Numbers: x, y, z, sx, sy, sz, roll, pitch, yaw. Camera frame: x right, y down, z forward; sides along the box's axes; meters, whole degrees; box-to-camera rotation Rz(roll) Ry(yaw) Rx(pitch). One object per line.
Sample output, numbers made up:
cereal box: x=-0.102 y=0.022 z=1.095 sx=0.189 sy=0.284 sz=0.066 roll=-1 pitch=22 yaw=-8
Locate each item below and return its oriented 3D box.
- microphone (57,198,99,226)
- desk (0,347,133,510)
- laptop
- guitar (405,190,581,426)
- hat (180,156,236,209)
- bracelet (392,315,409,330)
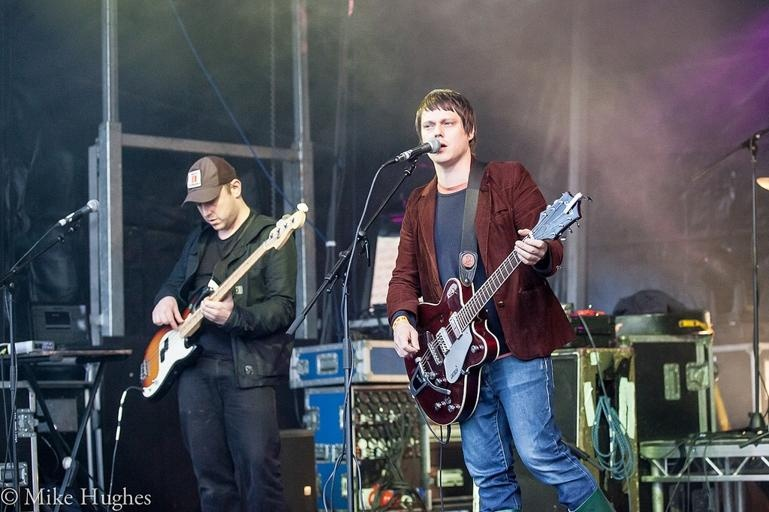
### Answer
microphone: x=-2.451 y=-0.337 z=9.984 sx=0.127 sy=0.117 sz=0.435 roll=12 pitch=29 yaw=43
desk: x=-2.378 y=1.281 z=9.343 sx=0.958 sy=1.273 sz=0.804 roll=0 pitch=-16 yaw=-12
laptop: x=-2.569 y=0.591 z=10.051 sx=0.519 sy=0.362 sz=0.450 roll=0 pitch=6 yaw=-25
guitar: x=0.505 y=0.573 z=8.097 sx=0.270 sy=0.973 sz=0.905 roll=10 pitch=-21 yaw=-40
hat: x=-1.279 y=-0.566 z=8.847 sx=0.328 sy=0.260 sz=0.500 roll=5 pitch=24 yaw=29
bracelet: x=0.096 y=0.445 z=8.231 sx=0.094 sy=0.104 sz=0.069 roll=8 pitch=5 yaw=-17
